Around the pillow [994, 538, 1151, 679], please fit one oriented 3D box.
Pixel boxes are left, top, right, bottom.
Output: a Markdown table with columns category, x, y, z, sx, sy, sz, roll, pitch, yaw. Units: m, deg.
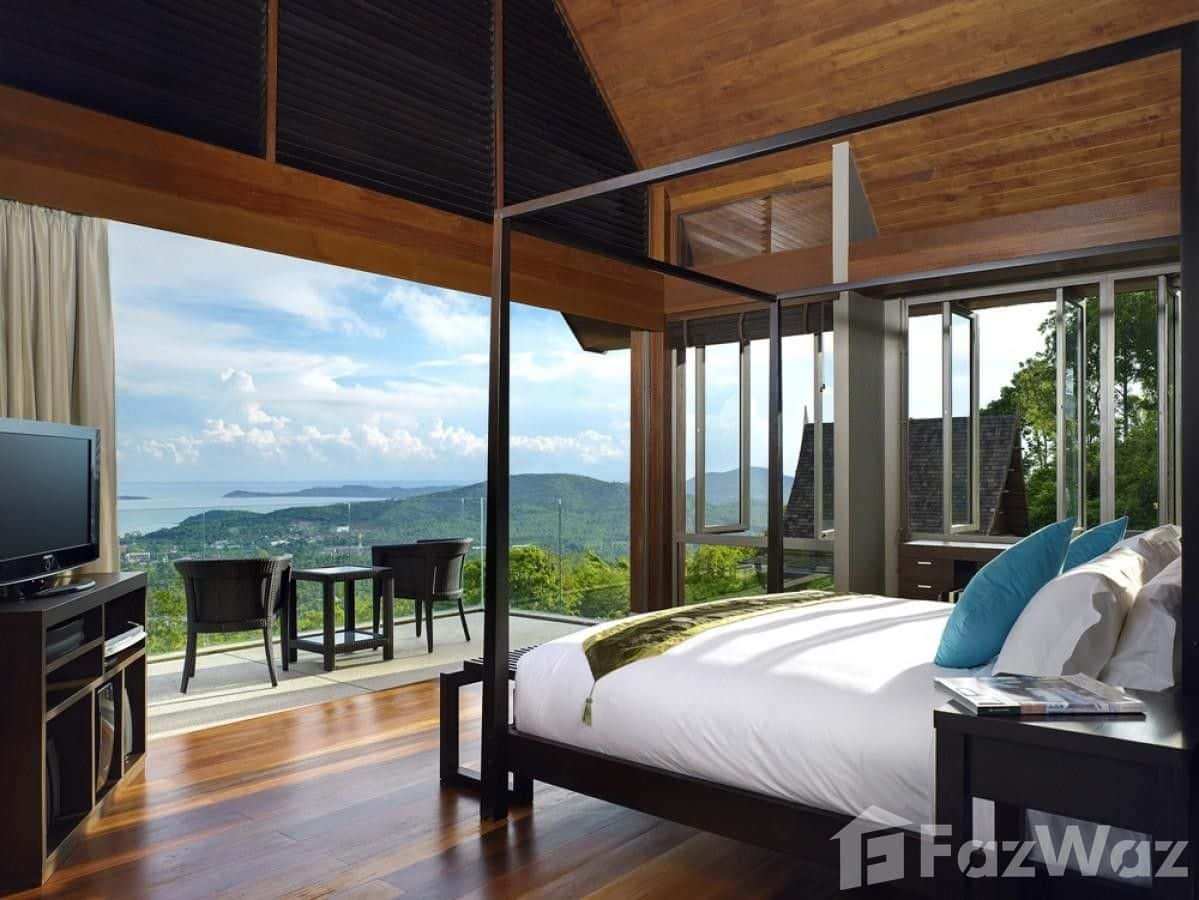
| category | x | y | z | sx | sy | sz | roll | pitch | yaw |
| --- | --- | --- | --- | --- | --- | --- | --- | --- | --- |
| pillow | 1.371 | 0.510 | 2.629 | 0.329 | 0.275 | 0.753 | -27 | -18 | 31 |

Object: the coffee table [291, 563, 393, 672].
| category | x | y | z | sx | sy | sz | roll | pitch | yaw |
| --- | --- | --- | --- | --- | --- | --- | --- | --- | --- |
| coffee table | -1.716 | 1.093 | 5.707 | 0.745 | 0.663 | 0.734 | -1 | 0 | -43 |

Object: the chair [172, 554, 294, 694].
| category | x | y | z | sx | sy | sz | roll | pitch | yaw |
| --- | --- | --- | --- | --- | --- | --- | --- | --- | --- |
| chair | -2.190 | 1.006 | 5.089 | 0.633 | 0.758 | 0.565 | 1 | 1 | -18 |
